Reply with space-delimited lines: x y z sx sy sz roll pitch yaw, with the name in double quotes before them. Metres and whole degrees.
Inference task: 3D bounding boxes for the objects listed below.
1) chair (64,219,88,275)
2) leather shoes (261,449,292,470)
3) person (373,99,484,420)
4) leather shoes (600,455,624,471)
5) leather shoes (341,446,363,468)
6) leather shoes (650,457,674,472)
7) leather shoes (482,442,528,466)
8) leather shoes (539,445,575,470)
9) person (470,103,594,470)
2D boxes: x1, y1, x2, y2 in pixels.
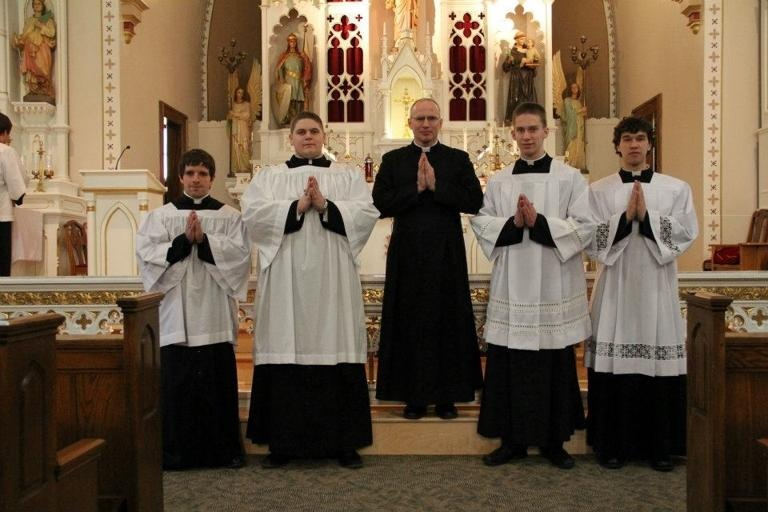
"chair" -3.735 -0.109 10.617 0.264 0.678 0.538 -1 0 -20
"leather shoes" -0.854 1.630 6.972 0.218 0.083 0.112 -1 3 9
"person" 0.367 0.099 7.176 0.898 2.447 0.359 -1 0 -2
"leather shoes" 1.801 1.650 6.944 0.199 0.076 0.078 -1 4 21
"leather shoes" -0.248 1.625 6.971 0.089 0.089 0.227 3 -7 -29
"leather shoes" 2.202 1.639 6.918 0.197 0.096 0.125 -1 0 -1
"leather shoes" 0.970 1.583 7.018 0.399 0.161 0.143 0 1 -13
"leather shoes" 1.380 1.600 6.943 0.114 0.203 0.318 -5 -1 -32
"person" 1.198 0.229 6.996 0.977 2.838 0.339 -1 0 5
